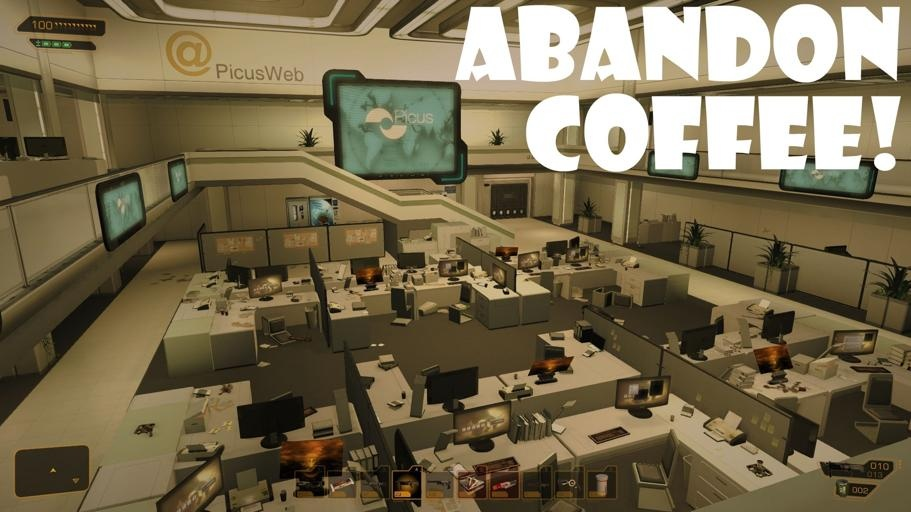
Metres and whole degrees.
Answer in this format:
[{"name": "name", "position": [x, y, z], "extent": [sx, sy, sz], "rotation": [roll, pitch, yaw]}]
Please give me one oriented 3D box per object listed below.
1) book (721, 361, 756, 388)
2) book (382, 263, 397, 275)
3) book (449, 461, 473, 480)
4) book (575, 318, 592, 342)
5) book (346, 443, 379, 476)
[{"name": "book", "position": [6.545, 2.787, 12.885], "extent": [0.628, 0.218, 0.629], "rotation": [-13, 17, -31]}, {"name": "book", "position": [-2.093, 0.448, 18.013], "extent": [0.398, 0.242, 0.379], "rotation": [-3, 5, -22]}, {"name": "book", "position": [0.095, 4.385, 11.343], "extent": [0.284, 0.143, 0.352], "rotation": [-3, 10, -19]}, {"name": "book", "position": [3.187, 1.889, 13.888], "extent": [0.289, 0.454, 0.499], "rotation": [-4, 15, -20]}, {"name": "book", "position": [-1.865, 4.152, 11.221], "extent": [0.711, 0.591, 0.234], "rotation": [-1, 6, -7]}]
